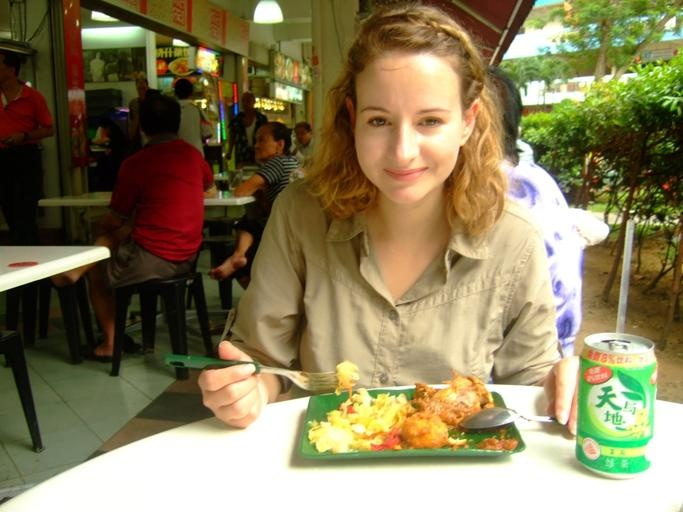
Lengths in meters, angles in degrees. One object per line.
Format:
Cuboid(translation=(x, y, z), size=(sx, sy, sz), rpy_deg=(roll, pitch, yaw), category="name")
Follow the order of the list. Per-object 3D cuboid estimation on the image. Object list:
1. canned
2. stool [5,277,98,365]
Cuboid(translation=(0.522, 0.283, 1.056), size=(0.135, 0.261, 0.116), rpy_deg=(2, 15, 7), category="canned")
Cuboid(translation=(-2.043, 0.387, 3.899), size=(0.651, 0.589, 0.608), rpy_deg=(3, 8, 4), category="stool")
